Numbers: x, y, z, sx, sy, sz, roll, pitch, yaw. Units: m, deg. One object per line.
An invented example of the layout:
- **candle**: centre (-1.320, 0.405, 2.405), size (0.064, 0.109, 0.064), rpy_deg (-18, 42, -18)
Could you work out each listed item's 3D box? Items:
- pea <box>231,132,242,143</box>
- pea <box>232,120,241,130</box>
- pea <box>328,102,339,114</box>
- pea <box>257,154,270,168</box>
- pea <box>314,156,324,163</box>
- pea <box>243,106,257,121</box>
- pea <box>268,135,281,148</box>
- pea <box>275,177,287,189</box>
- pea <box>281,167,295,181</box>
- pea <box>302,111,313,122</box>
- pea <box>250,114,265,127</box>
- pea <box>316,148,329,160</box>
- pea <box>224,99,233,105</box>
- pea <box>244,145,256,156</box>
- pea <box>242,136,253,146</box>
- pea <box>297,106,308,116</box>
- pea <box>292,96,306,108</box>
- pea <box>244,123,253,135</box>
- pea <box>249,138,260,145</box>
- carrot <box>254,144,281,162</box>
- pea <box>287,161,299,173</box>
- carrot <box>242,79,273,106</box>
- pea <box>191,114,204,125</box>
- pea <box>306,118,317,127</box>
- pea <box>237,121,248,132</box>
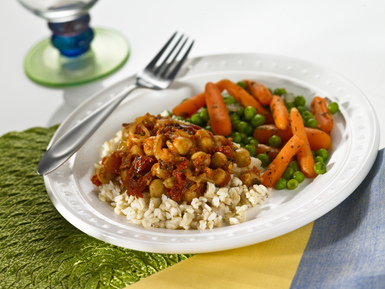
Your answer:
- **pea**: centre (0.431, -0.073, 4.106), size (0.084, 0.085, 0.106), rpy_deg (7, 73, -32)
- **pea**: centre (0.427, -0.206, 4.181), size (0.078, 0.098, 0.080), rpy_deg (13, 36, 23)
- **pea**: centre (1.311, -0.346, 3.877), size (0.091, 0.112, 0.090), rpy_deg (1, 4, 3)
- **pea**: centre (0.656, 0.142, 3.820), size (0.103, 0.132, 0.106), rpy_deg (4, 18, 12)
- **pea**: centre (1.097, 0.130, 3.617), size (0.045, 0.058, 0.047), rpy_deg (3, 27, 15)
- **pea**: centre (0.557, -0.297, 4.197), size (0.131, 0.129, 0.167), rpy_deg (14, 86, -15)
- **pea**: centre (0.770, -0.036, 3.940), size (0.100, 0.127, 0.104), rpy_deg (9, 16, 9)
- **pea**: centre (0.749, 0.326, 3.549), size (0.065, 0.084, 0.066), rpy_deg (44, 36, -25)
- **pea**: centre (0.837, 0.257, 3.648), size (0.079, 0.115, 0.084), rpy_deg (9, 11, 14)
- **pea**: centre (1.115, -0.270, 4.105), size (0.105, 0.088, 0.091), rpy_deg (12, 61, -42)
- **pea**: centre (0.641, -0.239, 4.092), size (0.095, 0.124, 0.100), rpy_deg (13, 81, -45)
- **pea**: centre (1.152, 0.082, 3.682), size (0.107, 0.085, 0.092), rpy_deg (66, 19, -13)
- **pea**: centre (0.364, -0.446, 4.359), size (0.063, 0.029, 0.051), rpy_deg (10, 9, -16)
- **pea**: centre (0.542, 0.049, 3.934), size (0.084, 0.106, 0.087), rpy_deg (-12, 31, 17)
- **pea**: centre (0.537, -0.031, 4.051), size (0.071, 0.073, 0.089), rpy_deg (8, 88, -2)
- **pea**: centre (1.081, -0.334, 4.132), size (0.059, 0.045, 0.079), rpy_deg (2, 28, 4)
- **pea**: centre (1.077, -0.432, 4.204), size (0.107, 0.062, 0.114), rpy_deg (-5, 59, 12)
- **pea**: centre (0.559, -0.149, 4.125), size (0.073, 0.059, 0.101), rpy_deg (5, 91, 1)
- **pea**: centre (0.597, -0.033, 4.005), size (0.076, 0.057, 0.058), rpy_deg (10, 55, -31)
- **carrot**: centre (0.701, 0.054, 3.917), size (0.118, 0.085, 0.248), rpy_deg (-23, 34, -30)
- **pea**: centre (0.903, 0.203, 3.709), size (0.065, 0.043, 0.080), rpy_deg (-2, 31, -2)
- **carrot**: centre (0.668, -0.543, 4.334), size (0.134, 0.129, 0.378), rpy_deg (-46, 44, 0)
- **pea**: centre (0.048, -0.268, 4.308), size (0.097, 0.118, 0.099), rpy_deg (9, 24, 19)
- **pea**: centre (1.129, -0.205, 3.951), size (0.070, 0.073, 0.085), rpy_deg (1, 59, -2)
- **pea**: centre (0.487, -0.176, 4.101), size (0.074, 0.097, 0.072), rpy_deg (53, 14, -14)
